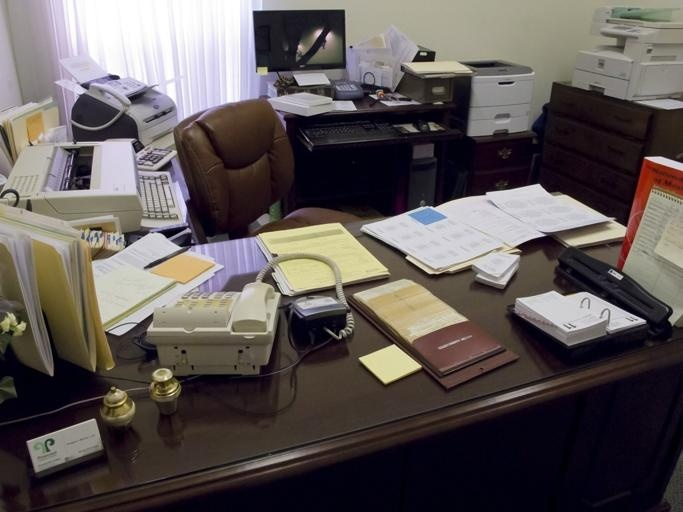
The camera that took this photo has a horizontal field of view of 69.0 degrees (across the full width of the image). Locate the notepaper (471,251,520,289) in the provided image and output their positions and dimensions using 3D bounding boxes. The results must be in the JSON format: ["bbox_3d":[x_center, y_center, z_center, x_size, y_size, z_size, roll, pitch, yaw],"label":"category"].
[{"bbox_3d":[0.444,0.018,1.413,0.086,0.037,0.123,17,36,26],"label":"notepaper"}]

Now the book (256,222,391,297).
[{"bbox_3d":[-0.072,-0.030,1.536,0.394,0.163,0.496,-1,24,-23],"label":"book"}]

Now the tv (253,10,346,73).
[{"bbox_3d":[-0.253,-1.330,3.049,0.574,0.341,0.055,-10,31,-14],"label":"tv"}]

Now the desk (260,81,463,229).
[{"bbox_3d":[0.173,-0.620,3.236,1.085,0.773,0.552,-8,29,-22],"label":"desk"}]

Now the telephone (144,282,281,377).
[{"bbox_3d":[-0.283,0.157,1.136,0.265,0.143,0.190,-2,31,-1],"label":"telephone"}]

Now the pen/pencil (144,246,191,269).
[{"bbox_3d":[-0.517,0.004,1.465,0.115,0.013,0.012,-35,18,-34],"label":"pen/pencil"}]

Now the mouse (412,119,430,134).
[{"bbox_3d":[0.488,-0.791,3.003,0.092,0.041,0.165,2,31,4],"label":"mouse"}]

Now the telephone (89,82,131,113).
[{"bbox_3d":[-1.119,-0.762,2.385,0.229,0.070,0.047,28,42,-14],"label":"telephone"}]

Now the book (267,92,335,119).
[{"bbox_3d":[-0.235,-0.856,2.813,0.444,0.127,0.372,-10,31,-32],"label":"book"}]

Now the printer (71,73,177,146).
[{"bbox_3d":[-1.118,-0.759,2.555,0.412,0.296,0.464,2,29,-4],"label":"printer"}]
